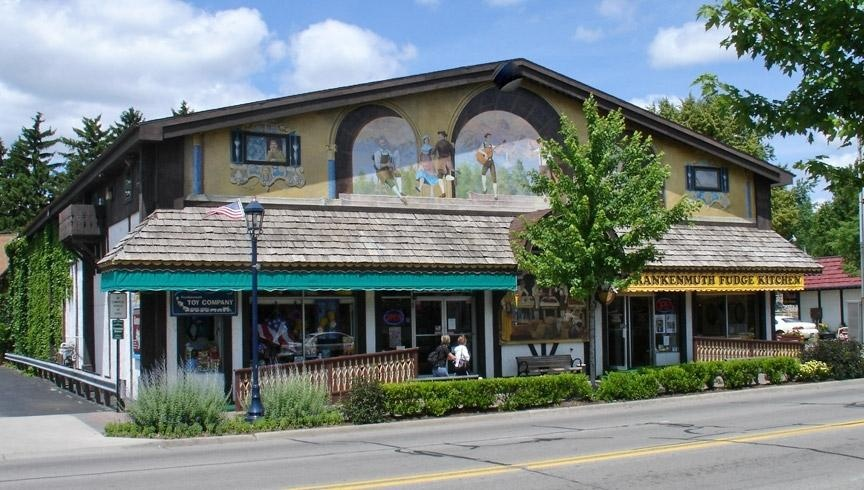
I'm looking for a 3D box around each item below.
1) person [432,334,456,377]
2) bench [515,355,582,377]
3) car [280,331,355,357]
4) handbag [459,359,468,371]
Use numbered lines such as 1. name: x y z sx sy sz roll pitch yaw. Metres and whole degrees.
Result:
1. person: 0.475 4.570 43.500 0.990 1.741 1.402 -2 -10 1
2. bench: 5.178 5.189 45.941 2.969 0.872 0.932 2 -11 -19
3. car: -4.591 4.156 43.581 2.462 0.798 1.120 4 -8 -27
4. handbag: 1.309 4.916 43.080 0.601 0.557 0.310 2 -6 -11
